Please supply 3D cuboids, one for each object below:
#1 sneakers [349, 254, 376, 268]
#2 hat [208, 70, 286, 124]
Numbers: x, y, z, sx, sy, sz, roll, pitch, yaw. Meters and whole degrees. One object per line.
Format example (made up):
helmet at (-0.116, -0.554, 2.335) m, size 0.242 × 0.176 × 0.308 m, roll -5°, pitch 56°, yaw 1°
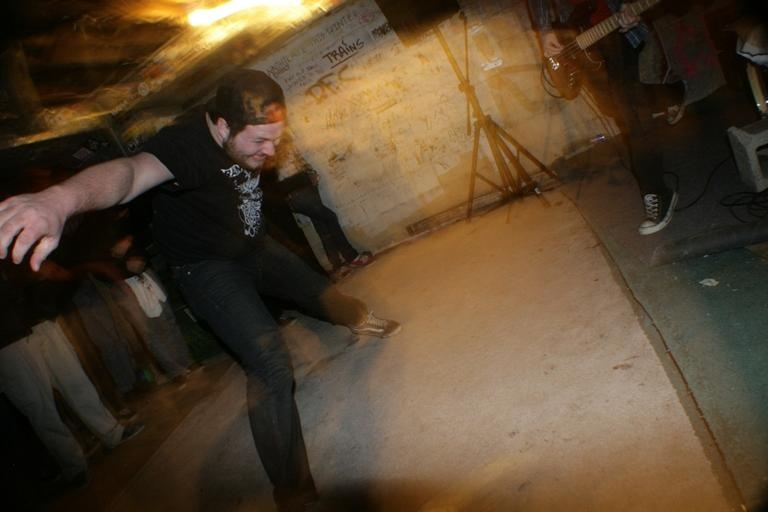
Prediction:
sneakers at (-0.279, 0.049, 6.862) m, size 0.358 × 0.146 × 0.138 m, roll -10°, pitch 16°, yaw -44°
hat at (-1.084, -1.248, 4.252) m, size 0.573 × 0.412 × 0.410 m, roll 0°, pitch 55°, yaw -1°
